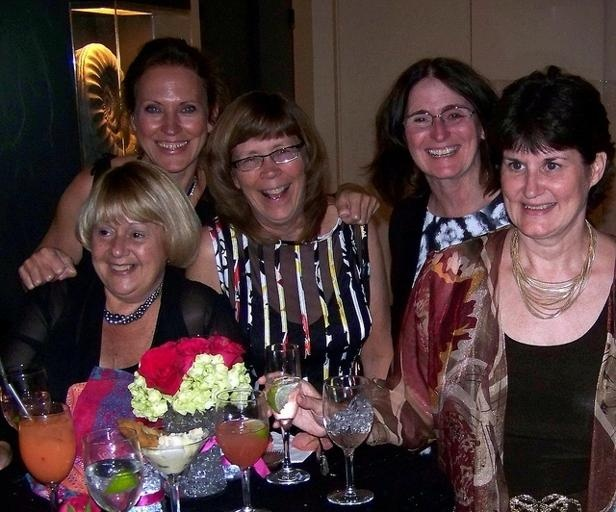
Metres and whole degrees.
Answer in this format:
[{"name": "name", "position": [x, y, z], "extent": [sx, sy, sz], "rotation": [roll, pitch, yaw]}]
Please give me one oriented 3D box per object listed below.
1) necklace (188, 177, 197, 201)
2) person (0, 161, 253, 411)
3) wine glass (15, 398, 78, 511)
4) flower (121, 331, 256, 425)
[{"name": "necklace", "position": [-0.594, -0.350, 3.089], "extent": [0.022, 0.093, 0.060], "rotation": [-1, -9, 41]}, {"name": "person", "position": [-0.649, 0.121, 2.694], "extent": [1.240, 1.252, 0.791], "rotation": [1, 0, -1]}, {"name": "wine glass", "position": [-0.723, 0.552, 1.667], "extent": [0.137, 0.271, 0.241], "rotation": [-12, 16, -43]}, {"name": "flower", "position": [-0.333, 0.272, 1.608], "extent": [0.235, 0.131, 0.256], "rotation": [-7, 26, 18]}]
